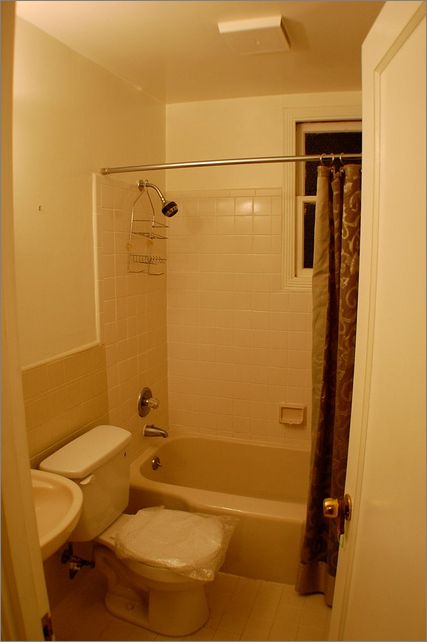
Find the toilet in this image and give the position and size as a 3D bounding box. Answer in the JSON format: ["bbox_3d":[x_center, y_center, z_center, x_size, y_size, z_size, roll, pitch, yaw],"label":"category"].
[{"bbox_3d":[-0.282,0.886,1.996,0.680,0.742,0.468,1,9,17],"label":"toilet"}]

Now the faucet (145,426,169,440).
[{"bbox_3d":[-0.323,0.659,2.803,0.120,0.068,0.071,7,0,15],"label":"faucet"}]
